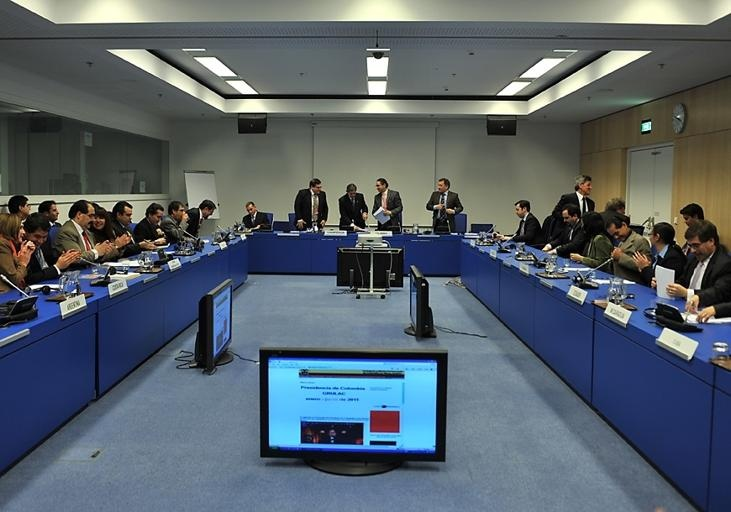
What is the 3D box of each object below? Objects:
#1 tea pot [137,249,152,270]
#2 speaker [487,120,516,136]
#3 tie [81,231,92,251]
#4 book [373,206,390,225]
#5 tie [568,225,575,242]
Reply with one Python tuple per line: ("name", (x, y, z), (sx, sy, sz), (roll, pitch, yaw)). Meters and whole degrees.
("tea pot", (-2.389, 0.039, 5.631), (0.118, 0.124, 0.216), (-4, 3, -14))
("speaker", (2.937, -2.780, 11.330), (0.484, 0.275, 0.357), (0, 3, 5))
("tie", (-3.162, -0.167, 5.888), (0.036, 0.315, 0.074), (-20, -34, -2))
("book", (0.255, -0.734, 9.440), (0.294, 0.293, 0.080), (49, -12, -35))
("tie", (2.802, -0.310, 7.071), (0.103, 0.112, 0.381), (-22, 0, 23))
